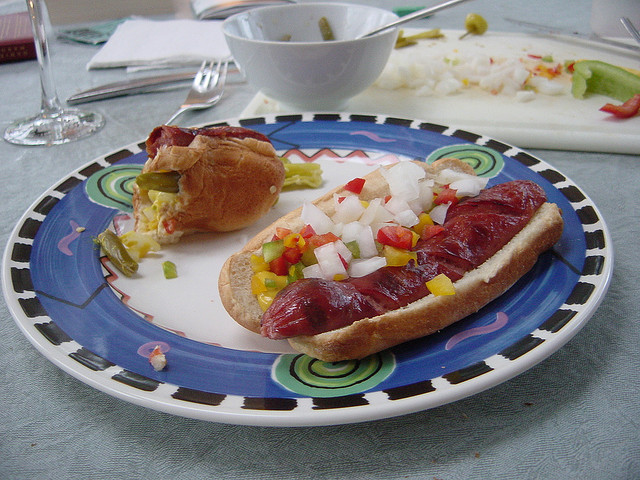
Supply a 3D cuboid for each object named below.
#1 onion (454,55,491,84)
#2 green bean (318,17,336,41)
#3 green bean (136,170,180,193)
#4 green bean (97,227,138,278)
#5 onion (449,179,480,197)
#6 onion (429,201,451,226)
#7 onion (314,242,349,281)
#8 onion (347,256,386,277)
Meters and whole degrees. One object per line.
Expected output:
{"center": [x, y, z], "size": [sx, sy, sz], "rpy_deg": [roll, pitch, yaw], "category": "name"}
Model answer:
{"center": [0.841, -0.921, 2.983], "size": [0.183, 0.053, 0.184], "rpy_deg": [-40, 47, -17], "category": "onion"}
{"center": [0.041, -1.074, 2.871], "size": [0.062, 0.140, 0.036], "rpy_deg": [-21, 14, 6], "category": "green bean"}
{"center": [-0.561, -0.207, 1.945], "size": [0.166, 0.044, 0.065], "rpy_deg": [2, 17, -26], "category": "green bean"}
{"center": [-0.669, 0.043, 1.878], "size": [0.232, 0.069, 0.082], "rpy_deg": [37, 34, 24], "category": "green bean"}
{"center": [0.494, -0.176, 1.895], "size": [0.097, 0.029, 0.073], "rpy_deg": [-5, 60, 0], "category": "onion"}
{"center": [0.396, -0.090, 1.835], "size": [0.072, 0.024, 0.085], "rpy_deg": [9, 44, 20], "category": "onion"}
{"center": [0.030, 0.061, 1.620], "size": [0.079, 0.030, 0.112], "rpy_deg": [-25, 74, -4], "category": "onion"}
{"center": [0.138, 0.081, 1.653], "size": [0.099, 0.021, 0.057], "rpy_deg": [-16, 34, 17], "category": "onion"}
